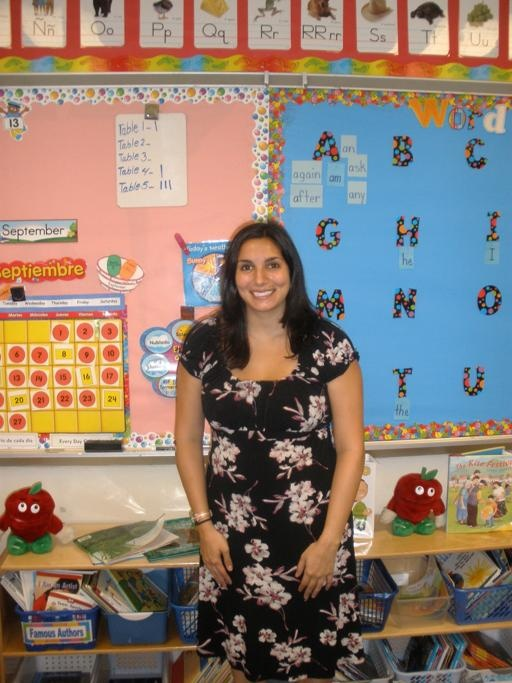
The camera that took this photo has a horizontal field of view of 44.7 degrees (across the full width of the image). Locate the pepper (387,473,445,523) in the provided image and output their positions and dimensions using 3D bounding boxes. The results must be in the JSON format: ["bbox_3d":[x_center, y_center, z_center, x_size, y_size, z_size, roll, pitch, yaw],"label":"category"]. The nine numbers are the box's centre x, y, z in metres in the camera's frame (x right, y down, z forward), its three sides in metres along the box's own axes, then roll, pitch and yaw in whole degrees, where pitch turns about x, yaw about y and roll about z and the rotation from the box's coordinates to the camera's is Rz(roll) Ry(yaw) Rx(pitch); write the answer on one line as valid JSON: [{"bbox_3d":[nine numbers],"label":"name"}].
[{"bbox_3d":[0.514,0.512,2.014,0.179,0.157,0.104,5,-11,3],"label":"pepper"}]

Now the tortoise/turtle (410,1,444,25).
[{"bbox_3d":[0.535,-1.023,1.944,0.096,0.072,0.031,-5,21,-7],"label":"tortoise/turtle"}]

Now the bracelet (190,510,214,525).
[{"bbox_3d":[-0.120,0.417,1.456,0.037,0.020,0.040,-6,-27,-15],"label":"bracelet"}]

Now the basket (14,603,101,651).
[{"bbox_3d":[-0.577,0.849,1.837,0.195,0.082,0.141,0,-16,-5],"label":"basket"}]

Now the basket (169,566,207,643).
[{"bbox_3d":[-0.219,0.832,1.984,0.148,0.117,0.203,0,5,-4],"label":"basket"}]

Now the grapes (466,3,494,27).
[{"bbox_3d":[0.704,-1.031,1.971,0.079,0.072,0.044,0,16,6],"label":"grapes"}]

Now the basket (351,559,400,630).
[{"bbox_3d":[0.364,0.803,1.990,0.160,0.129,0.211,-1,-23,5],"label":"basket"}]
